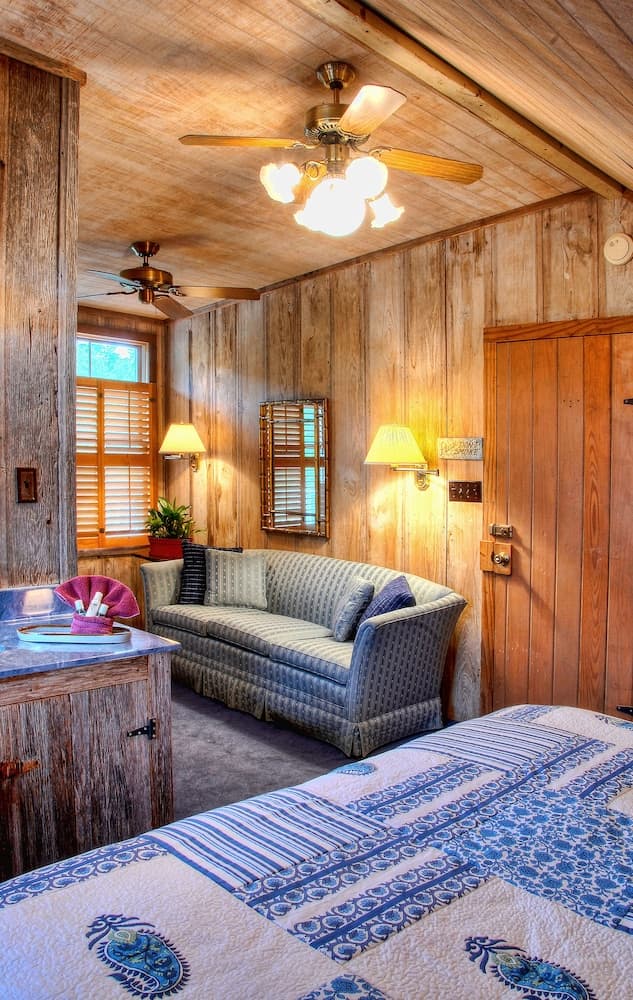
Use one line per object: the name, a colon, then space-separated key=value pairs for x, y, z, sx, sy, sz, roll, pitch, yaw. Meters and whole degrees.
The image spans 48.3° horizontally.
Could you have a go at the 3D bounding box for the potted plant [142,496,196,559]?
potted plant: x=-1.201 y=0.206 z=5.816 sx=0.436 sy=0.627 sz=0.494 roll=2 pitch=3 yaw=39

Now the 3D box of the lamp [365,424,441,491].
lamp: x=0.465 y=-0.230 z=3.919 sx=0.391 sy=0.419 sz=0.331 roll=-1 pitch=14 yaw=-7

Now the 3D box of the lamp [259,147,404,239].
lamp: x=0.096 y=-0.943 z=2.205 sx=0.427 sy=0.192 sz=0.430 roll=-1 pitch=3 yaw=-31

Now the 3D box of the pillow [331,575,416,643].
pillow: x=0.270 y=0.557 z=3.686 sx=0.110 sy=0.369 sz=0.360 roll=31 pitch=-43 yaw=-29

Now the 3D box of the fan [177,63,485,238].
fan: x=0.070 y=-1.118 z=2.234 sx=0.782 sy=0.497 sz=0.757 roll=6 pitch=6 yaw=33

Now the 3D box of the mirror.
mirror: x=-0.134 y=-0.214 z=4.855 sx=0.099 sy=1.107 sz=0.910 roll=2 pitch=-1 yaw=-35
